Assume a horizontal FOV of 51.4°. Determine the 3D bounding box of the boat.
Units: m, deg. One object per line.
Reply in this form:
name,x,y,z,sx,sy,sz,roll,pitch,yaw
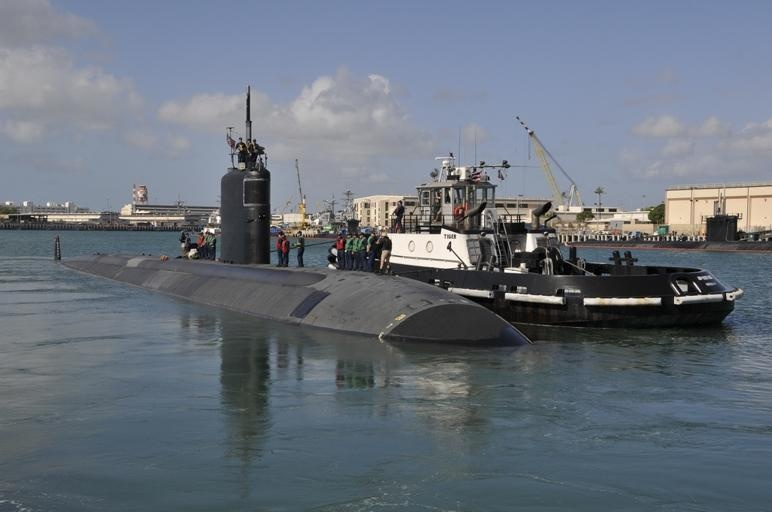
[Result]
boat,4.985,-0.218,24.758,5.942,4.570,15.492,-2,4,-40
